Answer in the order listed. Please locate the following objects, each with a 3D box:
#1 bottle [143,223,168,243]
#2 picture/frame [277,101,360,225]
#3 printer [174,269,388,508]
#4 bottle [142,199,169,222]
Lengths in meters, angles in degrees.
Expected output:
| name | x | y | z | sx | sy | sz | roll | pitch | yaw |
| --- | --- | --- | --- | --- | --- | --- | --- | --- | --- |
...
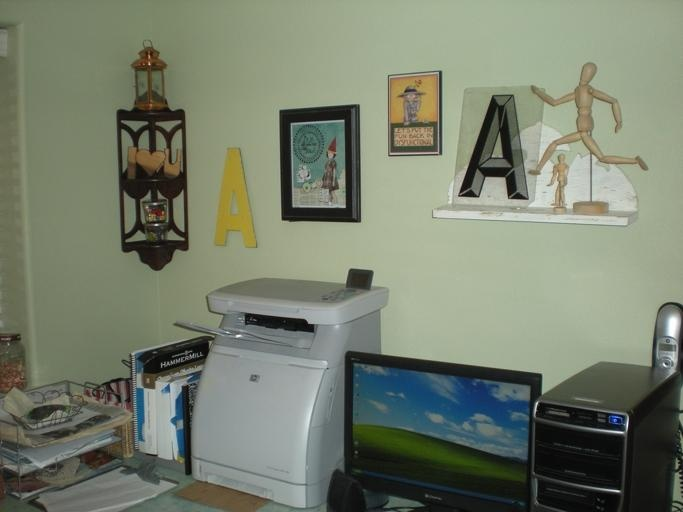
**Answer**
| name | x | y | z | sx | sy | sz | roll | pitch | yaw |
| --- | --- | --- | --- | --- | --- | --- | --- | --- | --- |
| bottle | -0.785 | -0.098 | 2.652 | 0.078 | 0.058 | 0.076 | 1 | -1 | 0 |
| picture/frame | -0.079 | -0.368 | 2.409 | 0.448 | 0.536 | 0.044 | 2 | 7 | 30 |
| printer | -0.183 | 0.402 | 2.377 | 0.662 | 0.846 | 0.701 | 0 | -1 | 32 |
| bottle | -0.785 | -0.190 | 2.644 | 0.100 | 0.080 | 0.102 | 0 | 3 | 0 |
